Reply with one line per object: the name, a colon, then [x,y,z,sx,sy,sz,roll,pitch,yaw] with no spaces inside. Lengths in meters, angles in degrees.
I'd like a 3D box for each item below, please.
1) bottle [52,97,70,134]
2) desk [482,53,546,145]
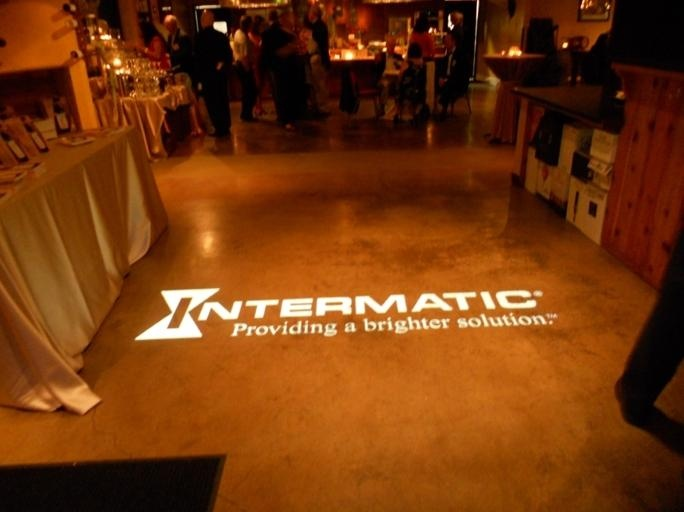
bottle: [-2.328,-1.176,3.997,0.114,0.303,0.027,-13,8,-26]
desk: [2.557,-2.326,7.138,0.914,1.286,0.882,12,-3,7]
